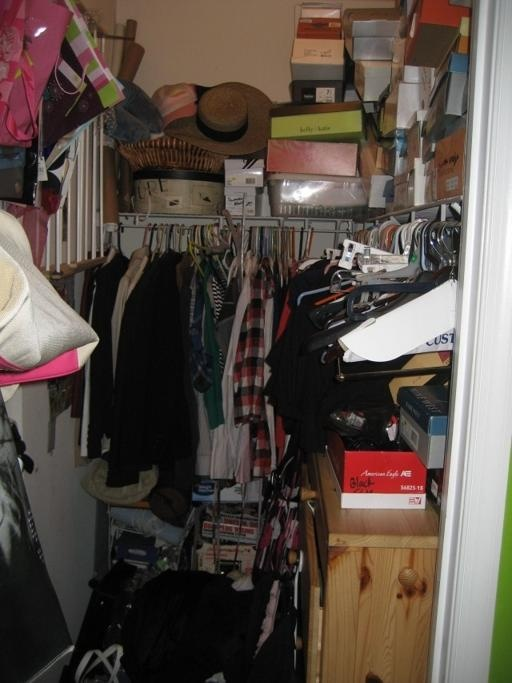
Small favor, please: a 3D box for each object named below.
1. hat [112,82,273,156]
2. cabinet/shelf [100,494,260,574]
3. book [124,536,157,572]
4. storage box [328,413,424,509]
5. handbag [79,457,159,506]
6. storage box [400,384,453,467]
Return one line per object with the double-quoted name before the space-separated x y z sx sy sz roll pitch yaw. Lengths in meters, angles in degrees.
"hat" -0.152 -0.905 2.156 0.382 0.344 0.102 0 -5 -4
"cabinet/shelf" -0.272 0.847 2.105 0.485 0.361 0.340 0 -4 -1
"book" -0.482 0.904 2.255 0.106 0.026 0.101 11 39 5
"storage box" 0.259 0.292 1.108 0.142 0.117 0.267 -2 13 -2
"handbag" -0.524 0.557 2.024 0.235 0.214 0.079 8 -10 2
"storage box" 0.325 0.156 1.026 0.106 0.098 0.191 1 6 0
